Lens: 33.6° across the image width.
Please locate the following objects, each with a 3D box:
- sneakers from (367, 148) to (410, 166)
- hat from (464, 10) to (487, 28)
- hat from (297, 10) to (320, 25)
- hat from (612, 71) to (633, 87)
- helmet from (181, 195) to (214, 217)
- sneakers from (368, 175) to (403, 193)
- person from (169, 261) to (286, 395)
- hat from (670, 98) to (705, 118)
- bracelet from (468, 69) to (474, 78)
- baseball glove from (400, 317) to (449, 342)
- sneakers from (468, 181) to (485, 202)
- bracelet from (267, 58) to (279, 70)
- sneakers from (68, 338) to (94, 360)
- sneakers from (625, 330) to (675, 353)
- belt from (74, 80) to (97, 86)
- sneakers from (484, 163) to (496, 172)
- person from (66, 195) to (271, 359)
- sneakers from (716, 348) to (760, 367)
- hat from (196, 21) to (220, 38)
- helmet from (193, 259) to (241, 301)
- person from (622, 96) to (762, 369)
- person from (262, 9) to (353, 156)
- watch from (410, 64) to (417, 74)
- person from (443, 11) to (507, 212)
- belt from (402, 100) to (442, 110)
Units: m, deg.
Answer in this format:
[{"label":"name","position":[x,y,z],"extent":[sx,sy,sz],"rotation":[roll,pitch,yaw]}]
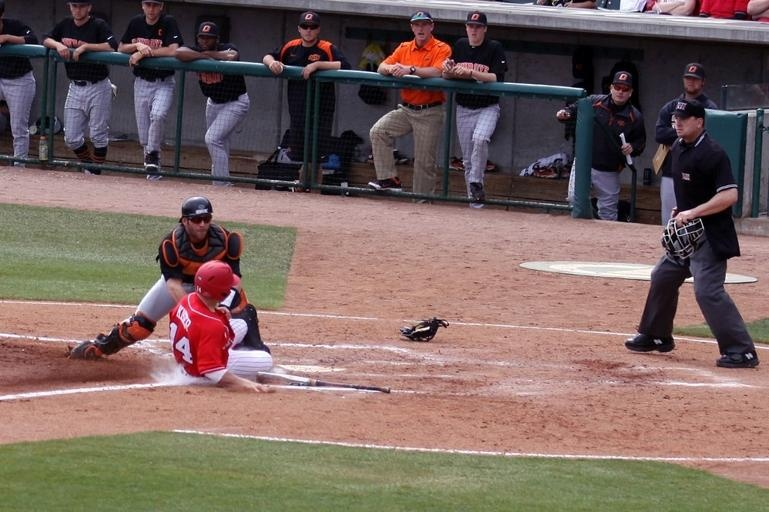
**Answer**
[{"label":"sneakers","position":[-0.018,-1.374,17.701],"extent":[0.730,0.226,0.205],"rotation":[-2,21,-6]},{"label":"hat","position":[1.239,-3.168,17.054],"extent":[0.271,0.170,0.332],"rotation":[5,7,12]},{"label":"hat","position":[-1.025,-3.199,17.357],"extent":[0.377,0.208,0.426],"rotation":[1,7,0]},{"label":"hat","position":[3.179,-2.347,16.868],"extent":[0.232,0.165,0.310],"rotation":[4,2,6]},{"label":"helmet","position":[-1.597,-0.418,10.791],"extent":[0.243,0.109,0.214],"rotation":[-2,8,-9]},{"label":"sneakers","position":[0.045,-0.997,17.665],"extent":[0.523,0.182,0.161],"rotation":[5,22,7]},{"label":"person","position":[-1.364,0.590,10.959],"extent":[0.992,0.999,1.212],"rotation":[4,22,-13]},{"label":"hat","position":[2.847,-1.362,11.859],"extent":[0.281,0.107,0.176],"rotation":[13,14,-9]},{"label":"bracelet","position":[1.162,-2.408,16.879],"extent":[0.070,0.094,0.131],"rotation":[5,2,3]},{"label":"baseball glove","position":[0.395,0.716,12.573],"extent":[0.450,0.177,0.511],"rotation":[4,2,0]},{"label":"sneakers","position":[1.285,-0.880,17.505],"extent":[0.233,0.245,0.100],"rotation":[3,23,12]},{"label":"bracelet","position":[-1.506,-2.600,17.363],"extent":[0.109,0.104,0.241],"rotation":[3,2,-30]},{"label":"sneakers","position":[-2.713,0.838,11.379],"extent":[0.183,0.088,0.222],"rotation":[0,2,-17]},{"label":"sneakers","position":[2.546,0.822,12.388],"extent":[0.536,0.202,0.176],"rotation":[4,23,-4]},{"label":"belt","position":[-4.223,-2.417,17.817],"extent":[0.287,0.076,0.032],"rotation":[4,2,2]},{"label":"sneakers","position":[1.578,-1.303,18.738],"extent":[0.208,0.054,0.178],"rotation":[6,9,-8]},{"label":"person","position":[-2.124,0.310,11.214],"extent":[2.315,1.308,1.111],"rotation":[-7,3,19]},{"label":"sneakers","position":[3.285,0.956,11.843],"extent":[0.381,0.175,0.152],"rotation":[4,24,-1]},{"label":"hat","position":[-2.473,-3.139,17.808],"extent":[0.370,0.221,0.449],"rotation":[4,6,4]},{"label":"helmet","position":[-1.421,0.181,10.676],"extent":[0.341,0.227,0.430],"rotation":[21,23,24]},{"label":"person","position":[2.969,-0.213,11.969],"extent":[0.720,2.116,1.065],"rotation":[4,3,-42]},{"label":"person","position":[-1.104,-2.306,17.525],"extent":[1.163,1.428,0.727],"rotation":[5,2,0]},{"label":"watch","position":[0.394,-2.491,17.128],"extent":[0.103,0.082,0.060],"rotation":[4,2,-2]},{"label":"person","position":[1.169,-1.964,17.174],"extent":[0.936,2.012,0.740],"rotation":[5,2,-8]},{"label":"belt","position":[0.512,-2.031,17.266],"extent":[0.529,0.089,0.087],"rotation":[4,2,13]}]
